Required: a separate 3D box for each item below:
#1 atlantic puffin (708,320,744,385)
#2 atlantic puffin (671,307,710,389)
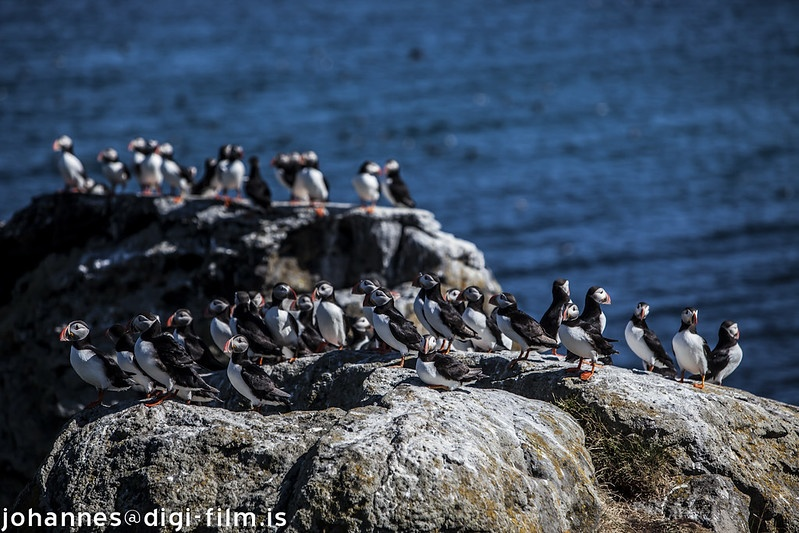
[{"bbox_3d":[7.577,2.186,25.662,0.659,1.641,0.958,8,27,36],"label":"atlantic puffin"},{"bbox_3d":[6.689,1.977,25.276,0.778,1.920,0.760,2,24,27],"label":"atlantic puffin"}]
